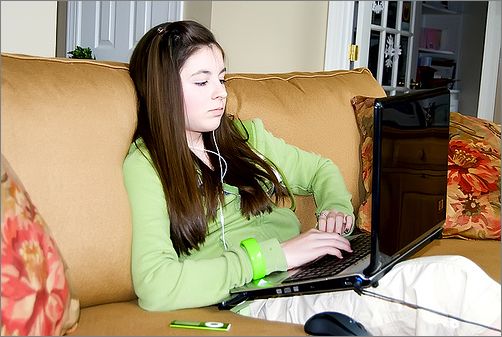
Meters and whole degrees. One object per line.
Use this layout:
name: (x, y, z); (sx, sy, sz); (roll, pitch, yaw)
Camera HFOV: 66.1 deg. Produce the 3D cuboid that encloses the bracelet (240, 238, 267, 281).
bracelet: (0.013, 0.278, 1.193); (0.099, 0.091, 0.103); (-11, 41, -12)
